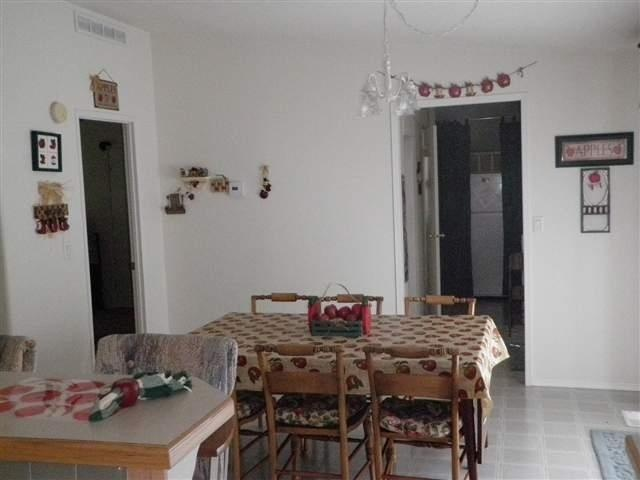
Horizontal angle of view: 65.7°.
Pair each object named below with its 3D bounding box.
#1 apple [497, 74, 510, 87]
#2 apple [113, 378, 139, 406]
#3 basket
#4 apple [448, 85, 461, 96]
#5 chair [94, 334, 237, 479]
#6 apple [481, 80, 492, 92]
[{"bbox_3d":[1.579,-1.360,4.294,0.097,0.116,0.105,0,-6,-6],"label":"apple"},{"bbox_3d":[-0.705,0.550,1.796,0.064,0.099,0.038,4,-13,-6],"label":"apple"},{"bbox_3d":[0.125,0.449,3.140,0.386,0.299,0.279,0,0,9],"label":"basket"},{"bbox_3d":[1.189,-1.311,4.357,0.092,0.107,0.078,2,-8,9],"label":"apple"},{"bbox_3d":[-0.636,0.818,2.518,0.582,0.857,0.676,0,-10,1],"label":"chair"},{"bbox_3d":[1.457,-1.337,4.307,0.116,0.114,0.055,1,8,18],"label":"apple"}]
